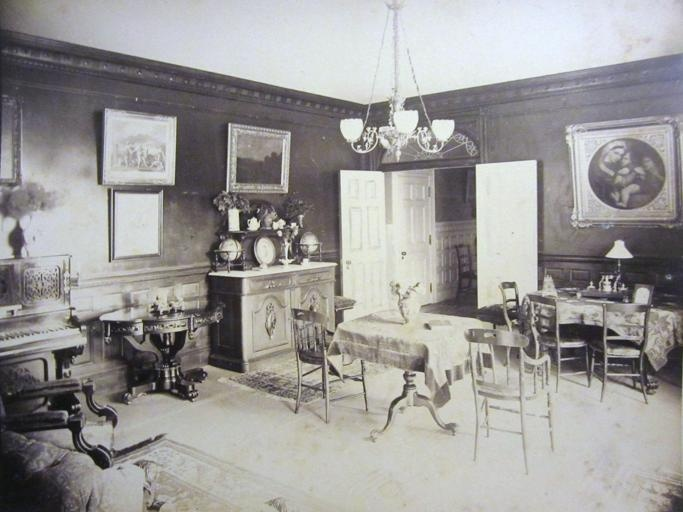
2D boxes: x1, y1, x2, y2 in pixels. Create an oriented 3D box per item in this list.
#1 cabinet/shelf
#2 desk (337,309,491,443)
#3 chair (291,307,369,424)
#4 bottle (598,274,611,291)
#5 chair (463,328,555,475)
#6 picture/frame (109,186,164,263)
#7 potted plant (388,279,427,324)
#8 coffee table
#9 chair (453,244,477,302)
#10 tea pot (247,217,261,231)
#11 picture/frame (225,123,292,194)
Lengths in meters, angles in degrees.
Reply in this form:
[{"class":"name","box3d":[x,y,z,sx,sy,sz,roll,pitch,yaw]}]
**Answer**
[{"class":"cabinet/shelf","box3d":[-0.890,0.806,7.657,0.646,1.339,1.893,6,8,40]},{"class":"desk","box3d":[0.752,1.032,5.430,1.212,1.012,1.203,-1,1,-41]},{"class":"chair","box3d":[-0.178,1.171,5.872,0.716,1.214,0.673,-4,4,-44]},{"class":"bottle","box3d":[3.554,0.362,7.016,0.182,0.227,0.212,1,1,1]},{"class":"chair","box3d":[1.639,1.315,5.086,0.707,1.357,0.727,-2,7,21]},{"class":"picture/frame","box3d":[-2.552,-0.394,6.450,0.108,1.211,0.858,3,4,42]},{"class":"potted plant","box3d":[0.741,0.482,5.644,0.376,0.499,0.428,-3,2,30]},{"class":"coffee table","box3d":[-2.196,1.069,6.100,1.312,0.925,1.076,-5,12,-29]},{"class":"chair","box3d":[2.642,0.322,11.350,0.499,1.100,1.660,2,13,14]},{"class":"tea pot","box3d":[-1.265,-0.450,7.565,0.195,0.186,0.277,-3,13,-10]},{"class":"picture/frame","box3d":[-1.262,-1.425,7.641,0.080,0.976,1.081,4,3,43]}]
